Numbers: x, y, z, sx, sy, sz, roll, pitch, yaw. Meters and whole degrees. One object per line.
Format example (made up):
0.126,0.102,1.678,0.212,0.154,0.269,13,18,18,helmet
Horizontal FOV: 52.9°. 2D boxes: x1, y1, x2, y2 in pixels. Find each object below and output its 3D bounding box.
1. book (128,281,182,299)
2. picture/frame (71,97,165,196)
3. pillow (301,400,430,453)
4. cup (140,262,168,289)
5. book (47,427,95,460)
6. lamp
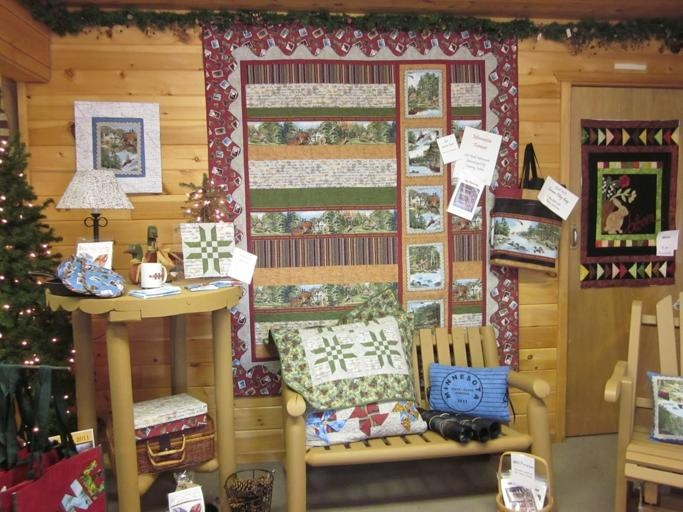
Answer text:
-1.028,0.194,3.899,0.279,0.050,0.407,-4,4,24,book
-1.467,-0.731,4.419,0.674,0.753,0.050,-1,2,-9,picture/frame
0.132,1.014,4.128,0.522,0.306,0.139,0,-39,-8,pillow
-1.071,0.111,3.945,0.104,0.145,0.168,-1,-5,8,cup
-1.425,0.986,3.661,0.216,0.162,0.125,0,-2,-35,book
-1.489,-0.222,4.154,0.420,0.629,0.401,9,16,17,lamp
